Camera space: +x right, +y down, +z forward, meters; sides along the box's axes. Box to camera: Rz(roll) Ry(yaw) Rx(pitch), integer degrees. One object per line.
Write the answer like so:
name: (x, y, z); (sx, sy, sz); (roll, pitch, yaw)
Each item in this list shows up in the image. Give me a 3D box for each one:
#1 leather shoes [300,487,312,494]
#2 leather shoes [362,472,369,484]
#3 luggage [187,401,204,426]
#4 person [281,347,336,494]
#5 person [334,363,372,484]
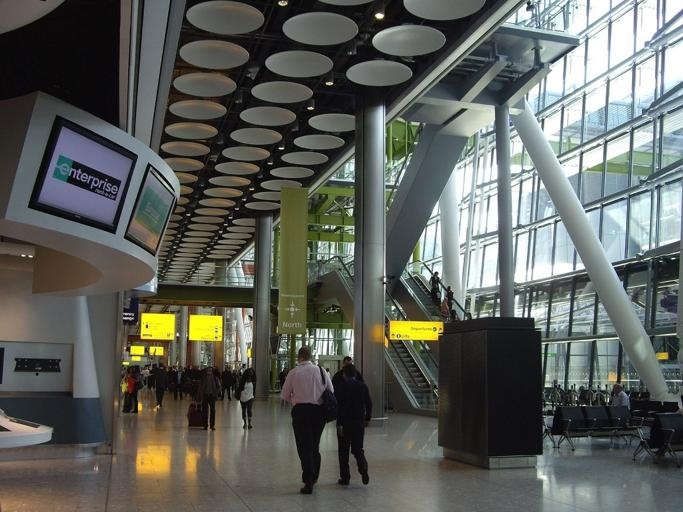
leather shoes: (-0.482, 3.257, 7.695); (0.182, 0.098, 0.178); (2, -10, -8)
leather shoes: (0.365, 3.321, 8.276); (0.127, 0.179, 0.094); (-5, 1, 0)
luggage: (-4.160, 4.575, 15.755); (0.409, 0.620, 0.745); (4, -10, -17)
person: (-0.498, 2.353, 8.069); (0.748, 2.040, 0.623); (1, -9, -3)
person: (0.153, 2.569, 8.395); (0.578, 1.760, 0.574); (0, -9, 5)
